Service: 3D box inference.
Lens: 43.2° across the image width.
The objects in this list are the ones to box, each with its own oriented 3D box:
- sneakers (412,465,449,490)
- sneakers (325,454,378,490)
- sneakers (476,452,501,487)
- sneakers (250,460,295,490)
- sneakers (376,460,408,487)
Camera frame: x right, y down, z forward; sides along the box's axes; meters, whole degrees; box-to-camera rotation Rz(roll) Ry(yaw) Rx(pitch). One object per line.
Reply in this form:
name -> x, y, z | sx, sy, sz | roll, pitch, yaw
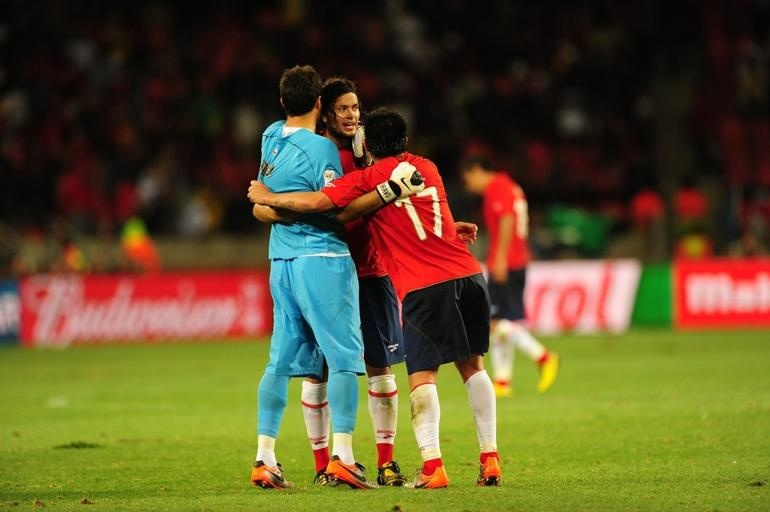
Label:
sneakers -> 0.466, 2.442, 10.693 | 0.180, 0.220, 0.488 | 3, -6, -43
sneakers -> -0.420, 2.431, 10.801 | 0.608, 0.305, 0.259 | 25, -18, -15
sneakers -> 1.144, 2.332, 10.666 | 0.243, 0.360, 0.155 | -1, 6, 3
sneakers -> -1.248, 2.447, 10.783 | 0.206, 0.270, 0.533 | -7, -17, 41
sneakers -> 0.069, 2.461, 10.892 | 0.165, 0.215, 0.406 | -1, -12, -31
